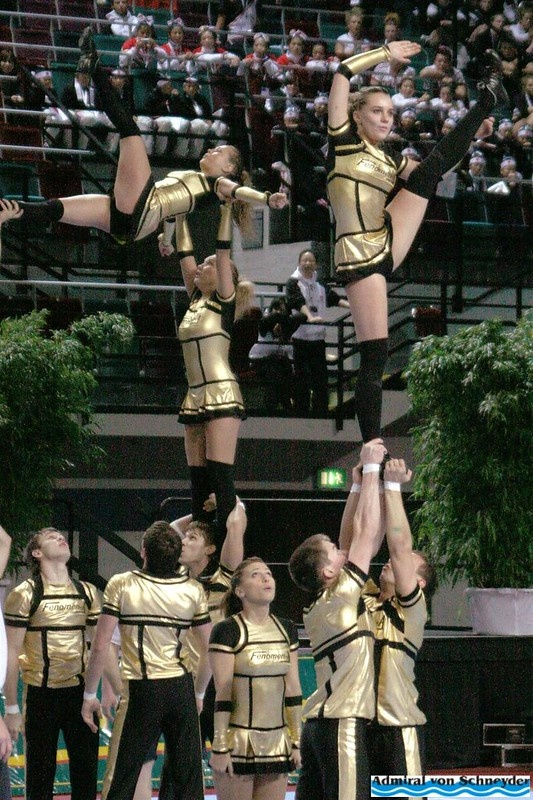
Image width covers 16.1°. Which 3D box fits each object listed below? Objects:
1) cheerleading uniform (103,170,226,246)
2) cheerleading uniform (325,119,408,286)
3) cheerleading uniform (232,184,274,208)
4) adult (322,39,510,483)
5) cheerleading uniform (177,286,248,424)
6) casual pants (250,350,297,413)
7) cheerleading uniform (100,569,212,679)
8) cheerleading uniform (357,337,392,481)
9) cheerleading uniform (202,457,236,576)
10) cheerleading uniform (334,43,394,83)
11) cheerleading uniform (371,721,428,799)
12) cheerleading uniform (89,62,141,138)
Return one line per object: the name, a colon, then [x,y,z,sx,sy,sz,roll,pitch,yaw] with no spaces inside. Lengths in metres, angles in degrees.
cheerleading uniform: [-0.490,-0.905,8.853,0.601,0.336,0.239,-4,4,-44]
cheerleading uniform: [0.430,-0.891,8.567,0.311,0.728,0.240,-1,3,2]
cheerleading uniform: [-0.070,-0.933,8.652,0.148,0.102,0.369,-2,2,-6]
adult: [0.652,-0.604,8.506,0.713,2.166,0.458,2,-23,2]
cheerleading uniform: [-0.282,-0.207,9.360,0.309,0.653,0.346,-1,3,-3]
casual pants: [0.066,-0.139,13.605,0.347,0.763,0.368,-1,5,-1]
cheerleading uniform: [-0.499,0.995,8.564,0.465,0.578,0.289,1,14,-6]
cheerleading uniform: [0.464,0.030,8.500,0.135,0.705,0.135,-1,5,-36]
cheerleading uniform: [-0.224,0.571,9.228,0.102,0.554,0.104,2,1,-13]
cheerleading uniform: [0.432,-1.513,8.523,0.244,0.149,0.207,-1,3,5]
cheerleading uniform: [0.562,1.537,8.111,0.190,0.245,0.217,-2,-12,16]
cheerleading uniform: [-0.689,-1.359,8.621,0.204,0.352,0.366,-1,3,-4]
